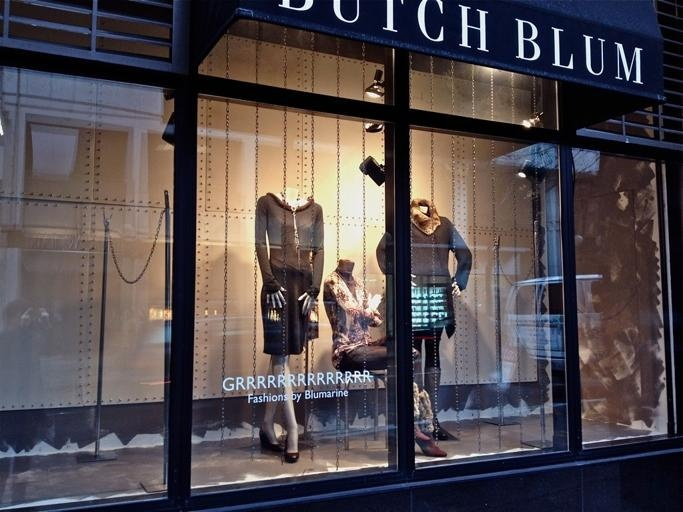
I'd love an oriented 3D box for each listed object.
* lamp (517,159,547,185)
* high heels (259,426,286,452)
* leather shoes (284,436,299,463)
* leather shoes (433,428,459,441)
[{"bbox_3d":[1.538,-0.681,6.563,0.269,0.176,0.035,0,-4,-24],"label":"lamp"},{"bbox_3d":[-0.476,1.287,5.607,0.082,0.133,0.240,12,-17,-42],"label":"high heels"},{"bbox_3d":[-0.350,1.328,5.652,0.084,0.191,0.065,-3,-3,-20],"label":"leather shoes"},{"bbox_3d":[0.764,1.342,6.094,0.131,0.061,0.089,10,0,-15],"label":"leather shoes"}]
